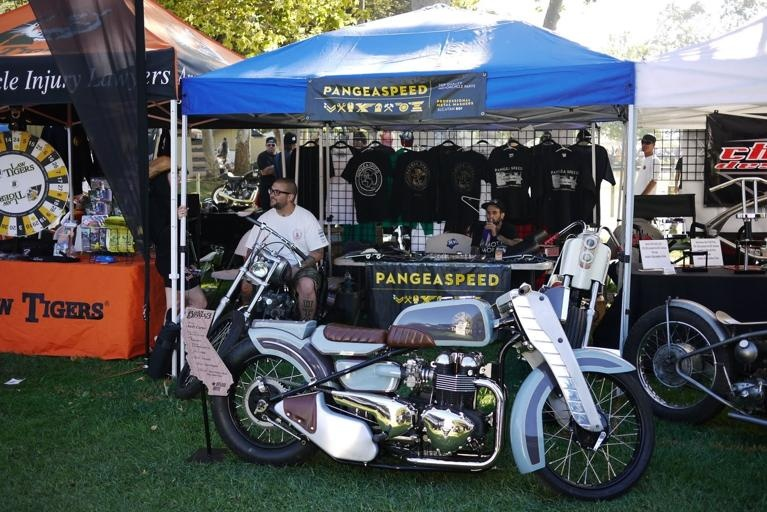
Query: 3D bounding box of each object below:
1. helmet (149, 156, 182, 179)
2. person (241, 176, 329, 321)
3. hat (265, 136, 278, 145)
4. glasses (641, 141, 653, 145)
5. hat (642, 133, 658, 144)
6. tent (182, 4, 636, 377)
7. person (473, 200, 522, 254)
[{"bbox_3d":[-2.334,-0.958,7.237,0.300,0.256,0.090,7,9,-1],"label":"helmet"},{"bbox_3d":[-1.179,0.033,7.763,1.077,1.849,1.124,-1,22,-1],"label":"person"},{"bbox_3d":[-2.281,-2.362,13.823,0.171,0.158,0.272,0,14,0],"label":"hat"},{"bbox_3d":[4.470,-1.913,11.351,0.097,0.054,0.157,5,3,40],"label":"glasses"},{"bbox_3d":[4.530,-1.987,11.380,0.208,0.122,0.150,17,-5,-35],"label":"hat"},{"bbox_3d":[0.288,-0.739,7.798,4.860,1.899,5.777,4,12,17],"label":"tent"},{"bbox_3d":[1.552,-0.395,8.929,0.528,0.967,0.519,-8,-18,38],"label":"person"}]
